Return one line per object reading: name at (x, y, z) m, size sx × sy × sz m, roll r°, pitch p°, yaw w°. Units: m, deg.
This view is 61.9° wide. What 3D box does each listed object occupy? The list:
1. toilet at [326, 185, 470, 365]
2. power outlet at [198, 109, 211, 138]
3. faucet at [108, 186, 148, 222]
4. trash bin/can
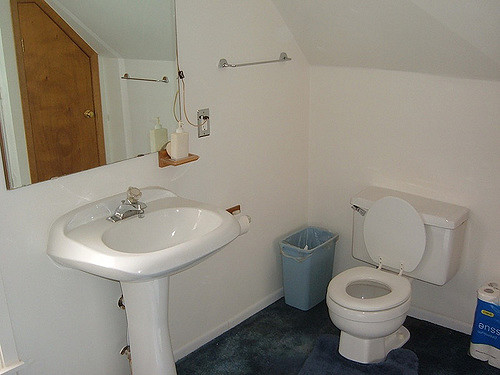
toilet at (0.843, 0.578, 2.595) m, size 0.675 × 1.010 × 0.867 m, roll 14°, pitch 24°, yaw 38°
power outlet at (-0.266, -0.372, 2.387) m, size 0.022 × 0.175 × 0.120 m, roll 14°, pitch 22°, yaw 32°
faucet at (-0.575, 0.087, 1.998) m, size 0.115 × 0.102 × 0.184 m, roll 34°, pitch 39°, yaw 33°
trash bin/can at (0.408, 0.578, 2.938) m, size 0.292 × 0.501 × 0.419 m, roll 14°, pitch 23°, yaw 40°
